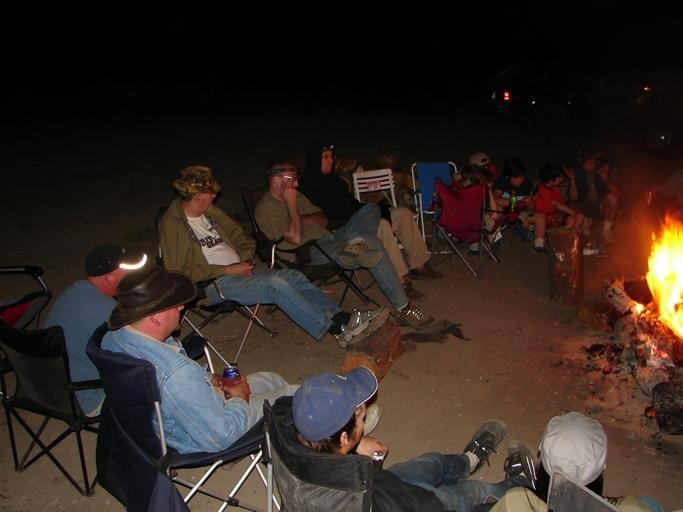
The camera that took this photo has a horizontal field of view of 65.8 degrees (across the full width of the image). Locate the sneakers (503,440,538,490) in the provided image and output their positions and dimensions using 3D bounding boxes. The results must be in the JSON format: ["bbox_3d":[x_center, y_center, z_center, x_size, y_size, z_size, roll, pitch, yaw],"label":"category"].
[{"bbox_3d":[1.228,1.443,3.634,0.177,0.164,0.462,-1,22,10],"label":"sneakers"}]

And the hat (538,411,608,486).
[{"bbox_3d":[1.275,1.009,2.840,0.349,0.266,0.487,-14,19,28],"label":"hat"}]

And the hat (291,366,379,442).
[{"bbox_3d":[-0.018,0.755,2.737,0.411,0.178,0.285,-34,41,-11],"label":"hat"}]

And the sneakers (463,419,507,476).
[{"bbox_3d":[1.062,1.359,3.920,0.178,0.209,0.509,30,52,24],"label":"sneakers"}]

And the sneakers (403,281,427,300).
[{"bbox_3d":[0.888,0.385,6.113,0.337,0.249,0.139,0,7,17],"label":"sneakers"}]

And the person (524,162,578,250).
[{"bbox_3d":[2.996,-0.741,7.426,0.742,1.112,0.646,-8,19,-23],"label":"person"}]

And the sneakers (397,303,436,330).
[{"bbox_3d":[0.781,0.614,5.539,0.380,0.189,0.211,2,23,12],"label":"sneakers"}]

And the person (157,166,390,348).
[{"bbox_3d":[-0.659,-0.027,5.011,2.024,1.482,1.027,8,14,5],"label":"person"}]

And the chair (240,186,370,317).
[{"bbox_3d":[-0.334,-0.042,6.024,1.476,1.745,1.169,-7,-1,10],"label":"chair"}]

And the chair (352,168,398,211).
[{"bbox_3d":[0.437,-0.907,7.464,0.565,0.827,0.583,-4,8,-6],"label":"chair"}]

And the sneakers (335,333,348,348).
[{"bbox_3d":[-0.005,0.764,4.909,0.087,0.169,0.038,-28,7,14],"label":"sneakers"}]

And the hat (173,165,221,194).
[{"bbox_3d":[-1.309,-0.699,4.787,0.326,0.143,0.287,-11,22,-33],"label":"hat"}]

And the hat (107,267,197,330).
[{"bbox_3d":[-1.092,0.221,3.031,0.399,0.150,0.366,-6,27,34],"label":"hat"}]

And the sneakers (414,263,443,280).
[{"bbox_3d":[1.082,0.174,6.686,0.312,0.146,0.166,1,13,3],"label":"sneakers"}]

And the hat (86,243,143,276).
[{"bbox_3d":[-1.630,-0.008,3.766,0.396,0.208,0.264,-11,13,-21],"label":"hat"}]
